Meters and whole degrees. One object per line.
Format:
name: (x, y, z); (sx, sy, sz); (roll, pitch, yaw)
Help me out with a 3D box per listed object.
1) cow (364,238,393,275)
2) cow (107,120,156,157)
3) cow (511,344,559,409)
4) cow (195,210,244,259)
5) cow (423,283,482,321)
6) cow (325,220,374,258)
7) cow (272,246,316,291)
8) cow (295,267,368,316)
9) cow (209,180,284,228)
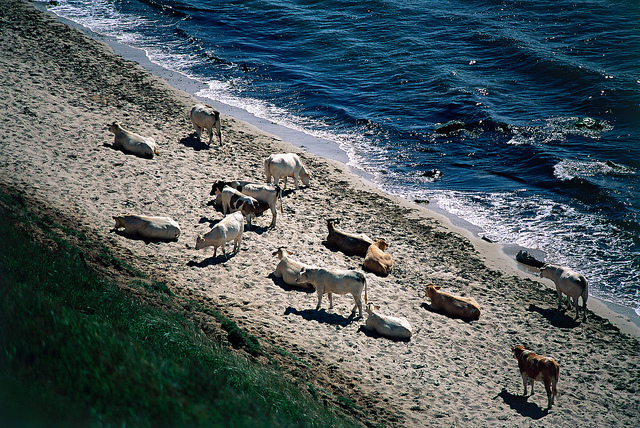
cow: (2.728, 2.001, 41.588); (1.083, 0.842, 1.742); (1, 44, -2)
cow: (-9.051, -3.796, 44.205); (2.720, 1.204, 1.131); (24, 49, -2)
cow: (9.020, 6.819, 38.149); (0.965, 1.973, 3.164); (-5, 9, -21)
cow: (-3.697, 0.905, 40.044); (1.089, 1.761, 3.284); (21, 37, 32)
cow: (5.800, 4.053, 40.477); (3.164, 1.390, 1.406); (22, 29, 36)
cow: (1.345, 1.212, 42.217); (2.696, 1.550, 0.879); (1, -5, -1)
cow: (-1.431, 2.283, 39.953); (1.162, 1.223, 2.485); (-36, 60, -25)
cow: (0.603, 3.140, 38.998); (2.976, 1.754, 0.852); (14, 36, 6)
cow: (-3.271, -0.605, 43.429); (3.975, 1.856, 1.246); (8, 21, 25)
